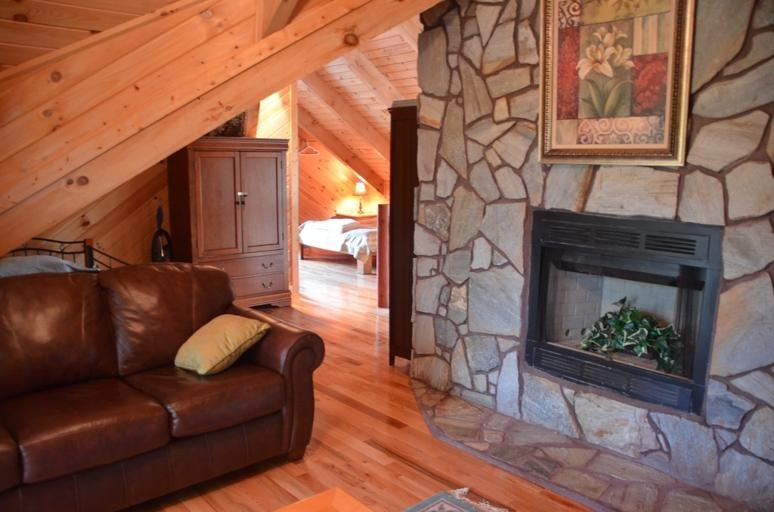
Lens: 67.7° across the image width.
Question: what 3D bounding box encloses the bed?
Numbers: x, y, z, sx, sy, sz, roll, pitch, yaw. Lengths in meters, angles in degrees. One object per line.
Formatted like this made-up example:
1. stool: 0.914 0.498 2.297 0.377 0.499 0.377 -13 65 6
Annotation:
1. bed: -0.584 -0.269 8.804 1.030 0.412 1.026 8 11 40

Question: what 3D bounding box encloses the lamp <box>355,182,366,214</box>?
1. lamp: -0.499 -1.094 10.636 0.205 0.586 0.255 3 8 -3
